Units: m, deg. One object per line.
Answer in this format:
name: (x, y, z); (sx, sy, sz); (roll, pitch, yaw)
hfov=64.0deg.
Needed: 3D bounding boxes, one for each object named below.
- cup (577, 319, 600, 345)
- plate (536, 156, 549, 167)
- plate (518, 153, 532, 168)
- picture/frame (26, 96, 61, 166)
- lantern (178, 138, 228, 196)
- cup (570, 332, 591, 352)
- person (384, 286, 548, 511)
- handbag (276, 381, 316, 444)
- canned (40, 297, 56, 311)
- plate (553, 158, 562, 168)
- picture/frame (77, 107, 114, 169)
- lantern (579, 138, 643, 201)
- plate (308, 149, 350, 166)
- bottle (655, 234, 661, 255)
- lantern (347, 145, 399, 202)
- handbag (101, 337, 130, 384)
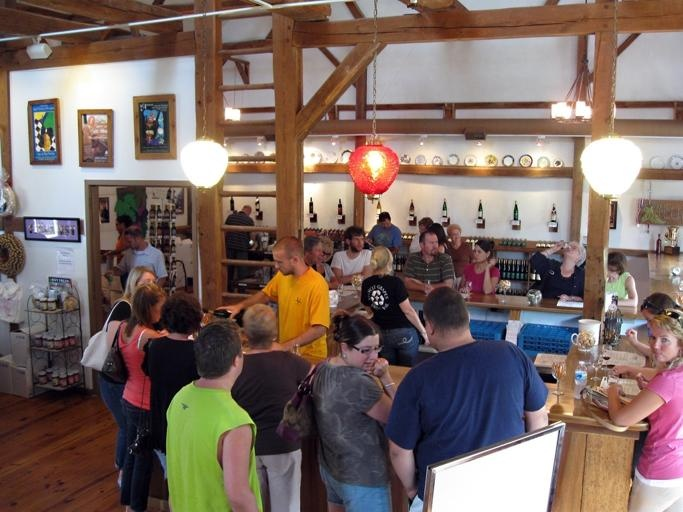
cup: (2.109, 0.635, 4.641); (0.213, 0.232, 0.208); (-1, 7, 0)
plate: (3.506, -1.626, 9.470); (0.168, 0.185, 0.063); (-6, 11, 23)
plate: (3.250, -1.667, 9.569); (0.228, 0.241, 0.071); (1, 3, 11)
picture/frame: (-3.669, -1.516, 6.721); (0.522, 0.792, 0.076); (1, 3, 22)
lantern: (-1.134, -0.745, 4.691); (0.385, 0.484, 0.404); (0, 7, -6)
cup: (2.018, 0.736, 4.638); (0.182, 0.141, 0.138); (0, 1, 19)
person: (0.668, 0.790, 2.947); (0.848, 1.231, 0.342); (1, 3, 6)
handbag: (-0.268, 0.915, 3.175); (0.217, 0.356, 0.085); (2, 3, 23)
canned: (-3.634, 0.610, 6.753); (0.138, 0.138, 0.144); (0, -2, -8)
plate: (3.754, -1.595, 9.427); (0.155, 0.139, 0.068); (1, 3, 15)
picture/frame: (-2.890, -1.412, 6.442); (0.652, 0.986, 0.040); (2, 3, 14)
lantern: (1.851, -0.596, 3.942); (0.399, 0.469, 0.419); (-1, 4, -1)
plate: (-0.259, -1.908, 10.556); (0.933, 0.298, 0.174); (1, 3, 17)
bottle: (5.411, -0.205, 9.287); (0.093, 0.320, 0.063); (1, 3, 14)
lantern: (0.282, -0.726, 4.820); (0.403, 0.489, 0.425); (0, 5, 3)
handbag: (-1.730, 0.816, 4.191); (0.159, 0.415, 0.309); (-9, 17, -41)
